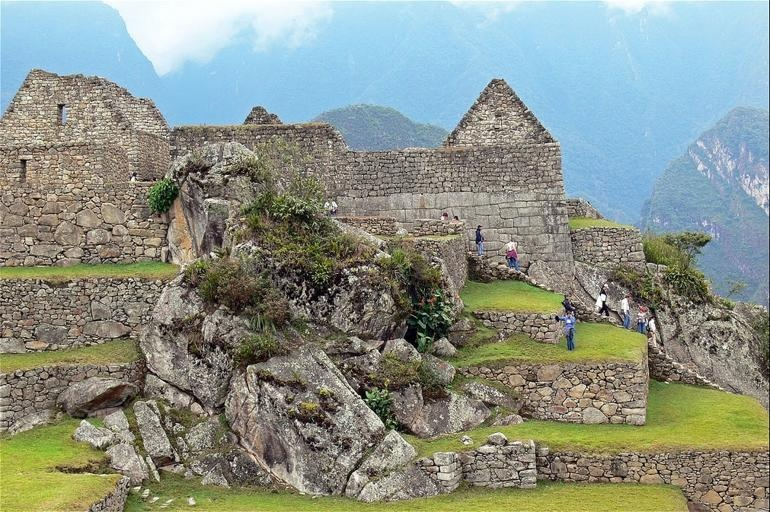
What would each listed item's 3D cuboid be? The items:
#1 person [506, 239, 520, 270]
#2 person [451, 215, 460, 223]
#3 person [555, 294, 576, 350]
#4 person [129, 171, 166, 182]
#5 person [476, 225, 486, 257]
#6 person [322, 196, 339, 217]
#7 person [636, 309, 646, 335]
[{"bbox_3d":[7.181,-0.033,39.645,0.684,1.710,1.563,1,-1,12],"label":"person"},{"bbox_3d":[4.038,-2.042,39.574,0.473,0.523,1.631,1,-1,5],"label":"person"},{"bbox_3d":[8.679,3.328,33.939,1.539,2.203,0.853,16,-23,-36],"label":"person"},{"bbox_3d":[-14.237,-4.616,41.614,0.909,0.602,3.074,1,-1,9],"label":"person"},{"bbox_3d":[5.358,-0.877,39.951,0.489,1.736,0.955,1,-1,7],"label":"person"},{"bbox_3d":[-2.993,-2.744,39.389,0.821,1.202,1.963,1,-1,-5],"label":"person"},{"bbox_3d":[13.435,3.451,36.897,0.426,1.319,2.195,1,-1,20],"label":"person"}]
